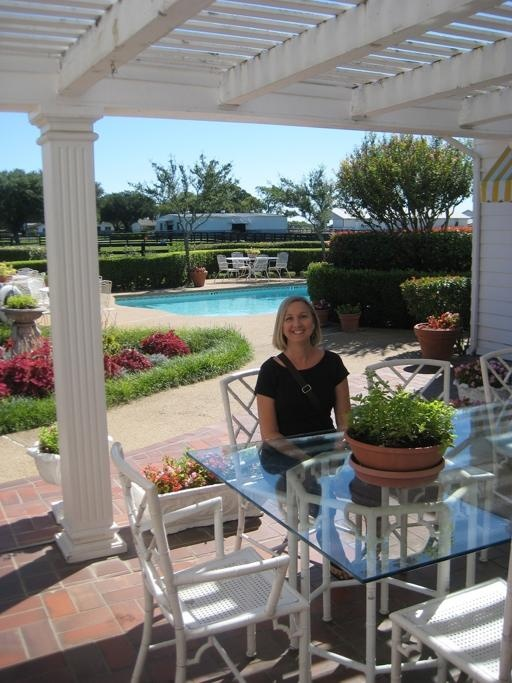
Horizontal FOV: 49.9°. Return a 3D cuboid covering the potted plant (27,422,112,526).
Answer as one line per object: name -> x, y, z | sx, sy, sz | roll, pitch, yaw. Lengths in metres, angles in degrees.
potted plant -> -1.394, 0.945, 4.015 | 0.544, 0.557, 0.532 | -20, -16, 1

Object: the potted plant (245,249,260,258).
potted plant -> -0.182, -3.896, 24.420 | 0.739, 0.413, 0.714 | -1, 9, 1

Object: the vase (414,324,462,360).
vase -> 2.701, 0.021, 8.250 | 0.617, 0.425, 0.590 | -1, 2, -9

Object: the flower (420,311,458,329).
flower -> 2.882, -0.295, 8.361 | 0.358, 0.189, 0.350 | -5, 6, -35

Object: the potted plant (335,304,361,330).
potted plant -> 1.966, -0.493, 11.765 | 0.560, 0.577, 0.536 | 0, 0, 0

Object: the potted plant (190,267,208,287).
potted plant -> -2.217, -2.486, 21.845 | 0.751, 0.776, 0.728 | -1, -3, 6
